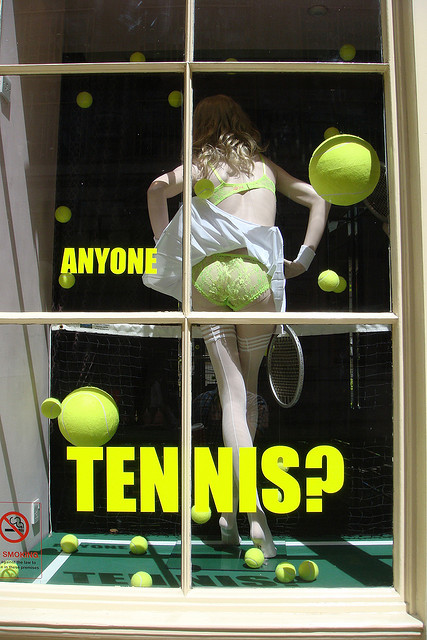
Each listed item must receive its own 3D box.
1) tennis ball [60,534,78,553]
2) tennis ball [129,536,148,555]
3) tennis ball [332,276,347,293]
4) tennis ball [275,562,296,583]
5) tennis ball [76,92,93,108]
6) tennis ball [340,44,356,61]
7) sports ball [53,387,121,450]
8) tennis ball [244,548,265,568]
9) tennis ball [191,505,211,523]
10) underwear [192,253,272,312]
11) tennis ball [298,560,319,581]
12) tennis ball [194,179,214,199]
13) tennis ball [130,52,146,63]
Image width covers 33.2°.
[{"bbox_3d":[-0.380,0.591,1.893,0.031,0.031,0.036,6,17,-13],"label":"tennis ball"},{"bbox_3d":[-0.194,0.589,1.871,0.033,0.033,0.033,37,-2,1],"label":"tennis ball"},{"bbox_3d":[0.372,-0.102,2.064,0.037,0.039,0.047,7,16,30],"label":"tennis ball"},{"bbox_3d":[0.173,0.600,1.697,0.031,0.036,0.037,-9,48,18],"label":"tennis ball"},{"bbox_3d":[-0.436,-0.749,2.428,0.042,0.026,0.042,-9,-26,-4],"label":"tennis ball"},{"bbox_3d":[0.349,-0.691,1.841,0.018,0.041,0.071,-4,15,-12],"label":"tennis ball"},{"bbox_3d":[-0.328,0.258,1.891,0.164,0.169,0.168,4,3,0],"label":"sports ball"},{"bbox_3d":[0.102,0.582,1.752,0.036,0.036,0.037,32,16,-10],"label":"tennis ball"},{"bbox_3d":[-0.031,0.462,1.715,0.045,0.045,0.027,16,-5,-25],"label":"tennis ball"},{"bbox_3d":[0.053,-0.106,1.911,0.211,0.142,0.097,-1,14,1],"label":"underwear"},{"bbox_3d":[0.229,0.596,1.703,0.050,0.018,0.057,6,16,27],"label":"tennis ball"},{"bbox_3d":[-0.024,-0.352,1.919,0.021,0.052,0.076,7,16,31],"label":"tennis ball"},{"bbox_3d":[-0.230,-0.812,2.203,0.062,0.024,0.022,12,19,41],"label":"tennis ball"}]
